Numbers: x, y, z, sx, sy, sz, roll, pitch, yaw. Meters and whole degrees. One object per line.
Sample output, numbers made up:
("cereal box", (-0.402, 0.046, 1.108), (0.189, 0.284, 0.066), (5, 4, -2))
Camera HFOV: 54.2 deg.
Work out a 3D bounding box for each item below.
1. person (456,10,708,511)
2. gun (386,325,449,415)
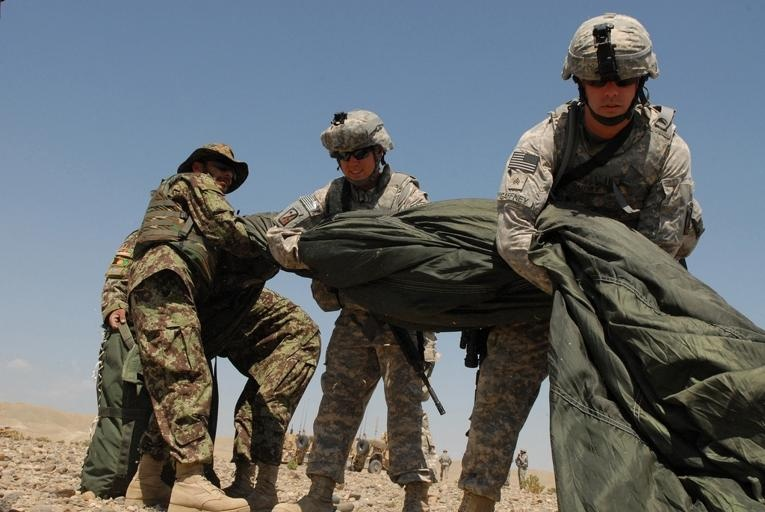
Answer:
("person", (1.164, 0.033, 4.882), (1.323, 3.022, 0.991), (-12, -29, 44))
("gun", (0.295, 0.869, 5.754), (0.115, 0.246, 0.751), (40, -30, 6))
